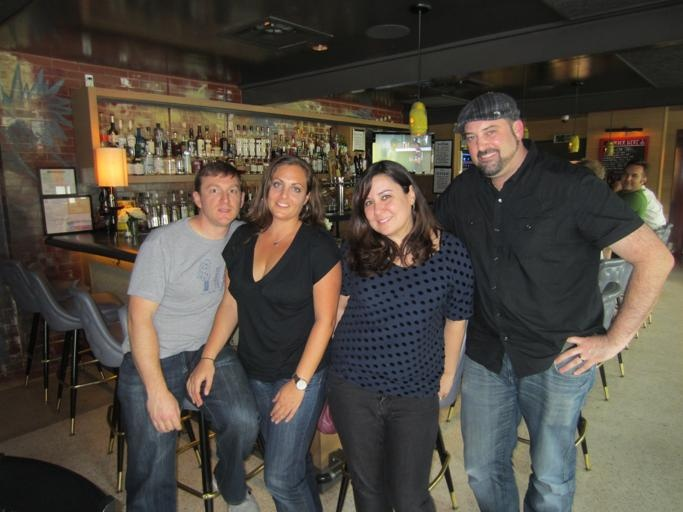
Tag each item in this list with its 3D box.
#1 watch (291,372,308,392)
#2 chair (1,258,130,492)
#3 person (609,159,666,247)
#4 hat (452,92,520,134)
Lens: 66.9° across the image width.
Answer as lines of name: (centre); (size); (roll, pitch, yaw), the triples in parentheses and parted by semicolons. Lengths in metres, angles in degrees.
watch: (-0.195, 0.602, 2.474); (0.074, 0.081, 0.021); (22, 32, 10)
chair: (-1.956, 0.845, 3.665); (1.011, 1.038, 0.515); (31, 32, 35)
person: (3.017, -0.507, 5.366); (0.492, 0.915, 0.473); (0, 6, 1)
hat: (0.697, -0.683, 2.478); (0.246, 0.125, 0.182); (-2, 11, -10)
